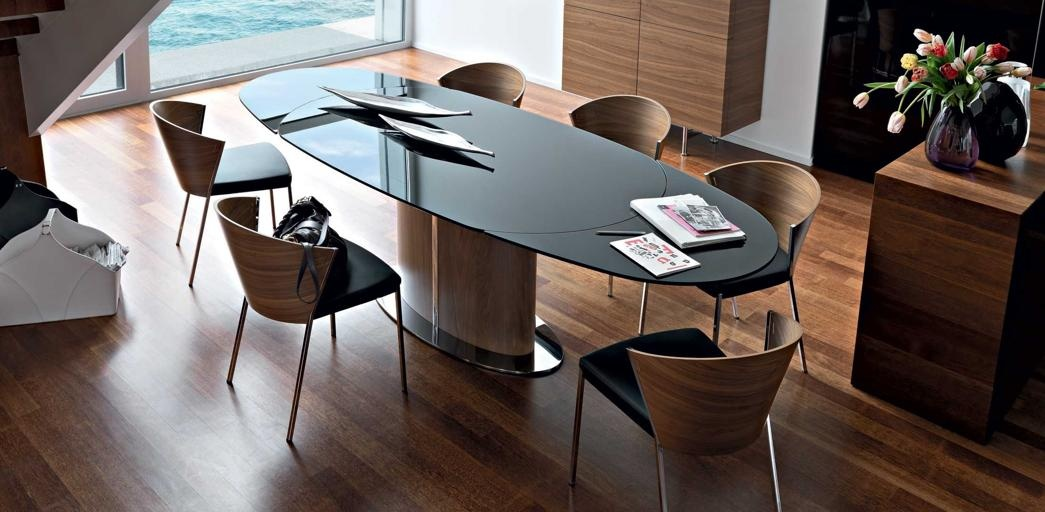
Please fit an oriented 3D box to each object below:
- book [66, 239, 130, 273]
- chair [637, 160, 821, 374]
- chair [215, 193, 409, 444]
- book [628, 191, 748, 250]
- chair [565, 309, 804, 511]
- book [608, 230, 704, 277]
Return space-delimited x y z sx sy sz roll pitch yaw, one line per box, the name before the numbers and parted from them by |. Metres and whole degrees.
book | -3.354 -0.013 5.087 0.368 0.107 0.265 19 28 29
chair | 1.394 0.087 4.352 1.130 1.366 1.051 -13 36 -22
chair | -1.541 0.342 4.410 1.123 1.408 1.261 -27 41 -35
book | 1.009 -0.230 4.106 0.485 0.063 0.435 -14 37 -26
chair | 1.014 1.032 4.005 0.835 1.025 1.008 -16 38 -23
book | 0.807 -0.007 3.924 0.305 0.122 0.455 -24 37 -35
